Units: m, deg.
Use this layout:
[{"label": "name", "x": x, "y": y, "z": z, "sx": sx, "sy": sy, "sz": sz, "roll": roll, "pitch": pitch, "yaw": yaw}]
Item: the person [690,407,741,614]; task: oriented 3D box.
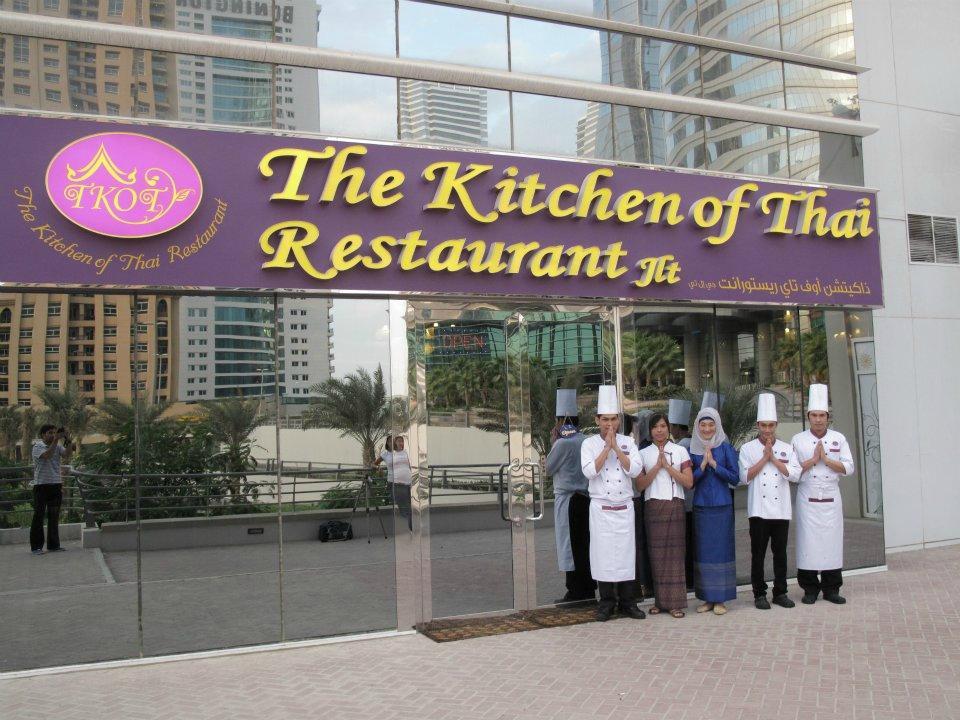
[{"label": "person", "x": 2.509, "y": 1.580, "z": 10.299, "sx": 0.508, "sy": 2.129, "sz": 0.365, "roll": -2, "pitch": -2, "yaw": 10}]

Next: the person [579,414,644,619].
[{"label": "person", "x": 1.387, "y": 1.617, "z": 10.080, "sx": 0.602, "sy": 2.114, "sz": 0.472, "roll": -2, "pitch": -2, "yaw": 4}]

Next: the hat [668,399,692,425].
[{"label": "hat", "x": 2.252, "y": 0.622, "z": 11.055, "sx": 0.280, "sy": 0.326, "sz": 0.279, "roll": 9, "pitch": -11, "yaw": -22}]

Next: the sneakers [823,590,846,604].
[{"label": "sneakers", "x": 3.849, "y": 2.561, "z": 10.475, "sx": 0.224, "sy": 0.085, "sz": 0.274, "roll": -3, "pitch": -2, "yaw": 5}]

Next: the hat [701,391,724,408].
[{"label": "hat", "x": 2.688, "y": 0.456, "z": 11.200, "sx": 0.167, "sy": 0.184, "sz": 0.215, "roll": 7, "pitch": -26, "yaw": 2}]

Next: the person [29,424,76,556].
[{"label": "person", "x": -4.033, "y": 1.203, "z": 9.081, "sx": 0.344, "sy": 1.160, "sz": 0.087, "roll": -2, "pitch": -2, "yaw": -6}]

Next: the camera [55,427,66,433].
[{"label": "camera", "x": -3.934, "y": 0.655, "z": 9.116, "sx": 0.076, "sy": 0.045, "sz": 0.052, "roll": 0, "pitch": -2, "yaw": -24}]

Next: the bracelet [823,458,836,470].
[{"label": "bracelet", "x": 3.825, "y": 1.126, "z": 10.604, "sx": 0.133, "sy": 0.096, "sz": 0.085, "roll": -3, "pitch": -2, "yaw": 16}]

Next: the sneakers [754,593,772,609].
[{"label": "sneakers", "x": 3.014, "y": 2.569, "z": 10.335, "sx": 0.184, "sy": 0.093, "sz": 0.239, "roll": -3, "pitch": -2, "yaw": 15}]

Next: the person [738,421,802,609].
[{"label": "person", "x": 3.143, "y": 1.645, "z": 10.457, "sx": 0.602, "sy": 1.995, "sz": 0.398, "roll": -2, "pitch": -2, "yaw": -3}]

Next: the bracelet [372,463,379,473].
[{"label": "bracelet", "x": -1.055, "y": 1.089, "z": 9.846, "sx": 0.076, "sy": 0.081, "sz": 0.045, "roll": 1, "pitch": -10, "yaw": -7}]

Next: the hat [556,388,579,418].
[{"label": "hat", "x": 0.955, "y": 0.477, "z": 10.757, "sx": 0.271, "sy": 0.288, "sz": 0.280, "roll": 1, "pitch": -9, "yaw": -7}]

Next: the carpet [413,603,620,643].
[{"label": "carpet", "x": 0.335, "y": 2.676, "z": 9.932, "sx": 1.956, "sy": 0.078, "sz": 0.720, "roll": -2, "pitch": -2, "yaw": -20}]

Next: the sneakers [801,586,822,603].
[{"label": "sneakers", "x": 3.612, "y": 2.566, "z": 10.541, "sx": 0.110, "sy": 0.217, "sz": 0.221, "roll": -10, "pitch": -16, "yaw": 44}]

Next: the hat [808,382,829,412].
[{"label": "hat", "x": 3.777, "y": 0.421, "z": 10.849, "sx": 0.202, "sy": 0.203, "sz": 0.294, "roll": -3, "pitch": -2, "yaw": 14}]

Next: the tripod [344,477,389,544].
[{"label": "tripod", "x": -1.108, "y": 1.486, "z": 9.826, "sx": 0.377, "sy": 0.689, "sz": 0.070, "roll": -2, "pitch": -2, "yaw": -6}]

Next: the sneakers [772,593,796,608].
[{"label": "sneakers", "x": 3.249, "y": 2.578, "z": 10.392, "sx": 0.108, "sy": 0.095, "sz": 0.222, "roll": 1, "pitch": -6, "yaw": -19}]
